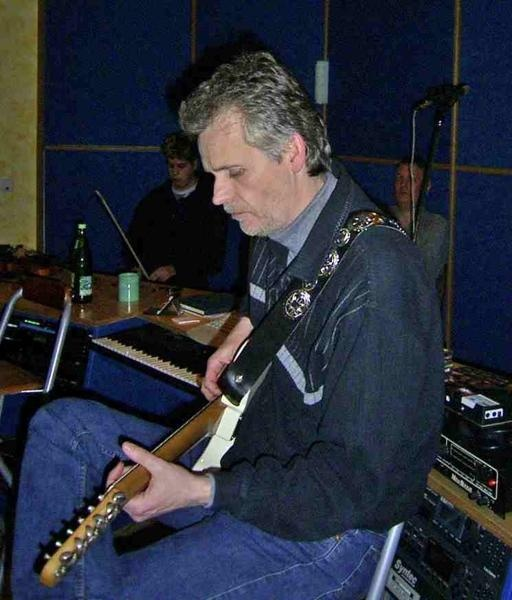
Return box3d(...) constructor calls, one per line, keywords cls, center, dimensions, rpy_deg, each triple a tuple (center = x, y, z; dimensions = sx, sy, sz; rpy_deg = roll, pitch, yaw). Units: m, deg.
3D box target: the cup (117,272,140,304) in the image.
box3d(cls="cup", center=(-0.535, -0.053, 2.509), dimensions=(0.120, 0.112, 0.121), rpy_deg=(1, 0, 0))
